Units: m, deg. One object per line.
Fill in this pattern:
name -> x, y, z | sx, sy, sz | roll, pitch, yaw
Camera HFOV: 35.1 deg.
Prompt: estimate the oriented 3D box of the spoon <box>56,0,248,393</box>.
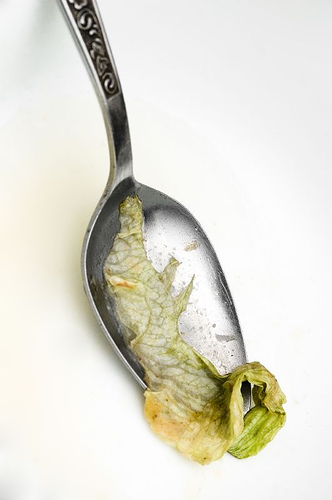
spoon -> -0.014, -0.018, 0.675 | 0.086, 0.149, 0.615 | -11, -80, 58
